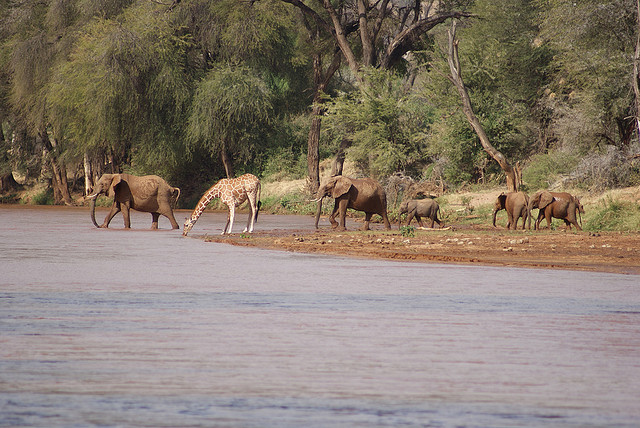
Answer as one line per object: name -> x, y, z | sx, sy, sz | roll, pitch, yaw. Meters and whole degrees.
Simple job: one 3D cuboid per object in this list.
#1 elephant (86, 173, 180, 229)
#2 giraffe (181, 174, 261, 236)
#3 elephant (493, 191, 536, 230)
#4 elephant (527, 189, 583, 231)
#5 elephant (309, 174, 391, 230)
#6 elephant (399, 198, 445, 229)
elephant -> -8.567, -0.783, 57.104 | 6.366, 3.102, 2.851 | 0, 0, 5
giraffe -> -4.130, -0.275, 54.694 | 3.072, 2.638, 1.879 | -3, 15, -12
elephant -> 9.149, -0.112, 58.195 | 1.038, 1.733, 3.027 | 4, 0, -21
elephant -> 10.722, -0.230, 55.851 | 2.803, 1.901, 1.269 | 3, 4, 10
elephant -> 1.688, -0.392, 57.009 | 3.059, 2.524, 1.205 | -1, 15, -3
elephant -> 4.620, -0.012, 58.418 | 1.647, 1.473, 3.517 | 1, 0, -15
